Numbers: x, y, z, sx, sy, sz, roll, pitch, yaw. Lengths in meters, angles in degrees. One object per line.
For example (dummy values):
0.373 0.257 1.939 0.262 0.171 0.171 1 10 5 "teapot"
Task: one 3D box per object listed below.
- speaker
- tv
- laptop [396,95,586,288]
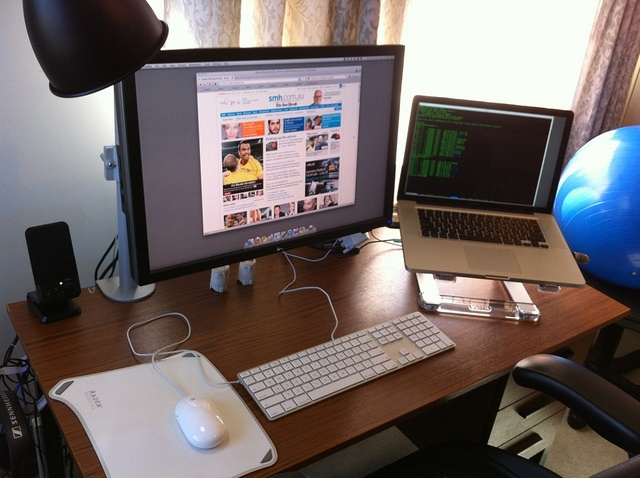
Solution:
-0.608 0.075 1.082 0.123 0.192 0.111 -17 33 -28 "speaker"
-0.149 -0.149 1.111 0.583 0.469 0.206 -14 33 -31 "tv"
0.443 -0.060 1.428 0.565 0.401 0.492 3 44 -10 "laptop"
